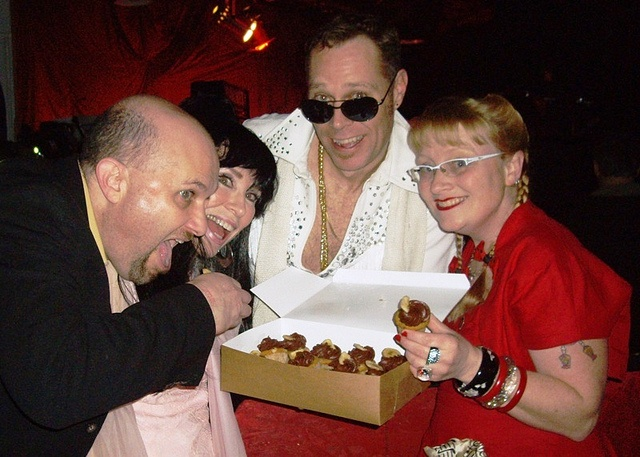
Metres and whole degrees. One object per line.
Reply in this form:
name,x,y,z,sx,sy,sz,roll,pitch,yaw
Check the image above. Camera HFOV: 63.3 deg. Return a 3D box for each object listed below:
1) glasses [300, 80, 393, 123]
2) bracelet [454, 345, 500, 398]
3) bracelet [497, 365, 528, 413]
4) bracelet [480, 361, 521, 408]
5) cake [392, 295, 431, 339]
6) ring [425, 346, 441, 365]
glasses,0.135,-0.805,3.574,0.530,0.176,0.119,0,11,-1
bracelet,0.762,0.725,2.617,0.139,0.241,0.200,33,60,33
bracelet,0.947,0.792,2.544,0.115,0.241,0.077,5,13,21
bracelet,0.883,0.733,2.555,0.142,0.193,0.199,42,30,-4
cake,0.471,0.450,2.729,0.198,0.210,0.191,-12,3,-26
ring,0.535,0.590,2.452,0.044,0.083,0.020,9,3,14
